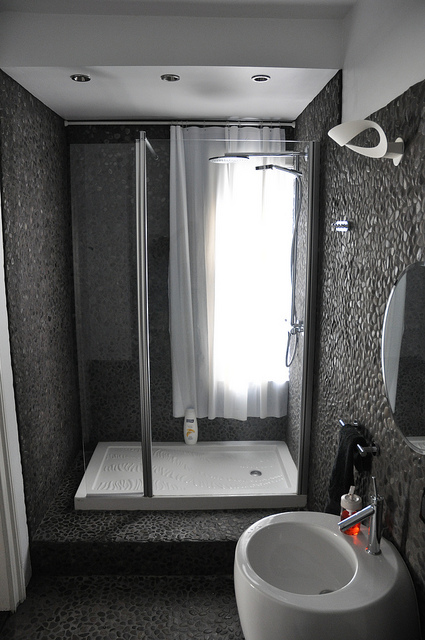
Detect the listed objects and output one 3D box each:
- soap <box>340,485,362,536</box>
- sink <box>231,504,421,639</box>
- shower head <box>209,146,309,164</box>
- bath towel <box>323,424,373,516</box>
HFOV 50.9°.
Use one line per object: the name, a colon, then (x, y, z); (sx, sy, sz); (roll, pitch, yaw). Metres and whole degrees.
soap: (0.457, 0.623, 1.475); (0.072, 0.151, 0.144); (-1, 1, 17)
sink: (0.321, 0.786, 1.347); (0.500, 0.152, 0.515); (-3, 2, 1)
shower head: (0.209, -0.772, 2.105); (0.446, 0.042, 0.056); (-3, 1, -4)
bath towel: (0.471, 0.573, 1.631); (0.095, 0.355, 0.202); (0, 8, 1)
